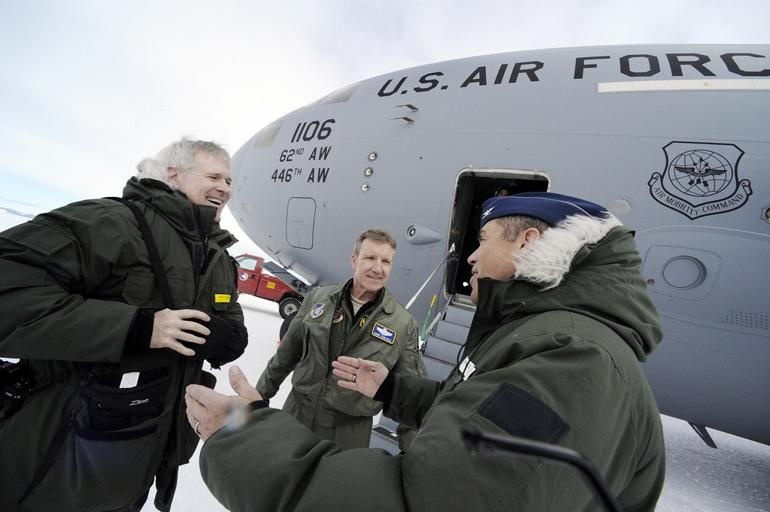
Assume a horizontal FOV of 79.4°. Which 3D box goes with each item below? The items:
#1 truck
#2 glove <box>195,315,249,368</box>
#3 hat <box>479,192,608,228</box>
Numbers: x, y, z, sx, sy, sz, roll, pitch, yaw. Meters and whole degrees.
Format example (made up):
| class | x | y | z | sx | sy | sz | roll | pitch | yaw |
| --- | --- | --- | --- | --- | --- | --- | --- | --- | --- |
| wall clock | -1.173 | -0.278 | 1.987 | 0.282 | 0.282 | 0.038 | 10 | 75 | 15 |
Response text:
| class | x | y | z | sx | sy | sz | roll | pitch | yaw |
| --- | --- | --- | --- | --- | --- | --- | --- | --- | --- |
| truck | -1.951 | 0.527 | 7.956 | 1.634 | 0.776 | 1.010 | 19 | -6 | 1 |
| glove | -1.076 | 0.553 | 3.010 | 0.355 | 0.180 | 0.277 | -20 | -60 | 46 |
| hat | 0.805 | -0.255 | 2.435 | 0.348 | 0.110 | 0.327 | -1 | 1 | 29 |
